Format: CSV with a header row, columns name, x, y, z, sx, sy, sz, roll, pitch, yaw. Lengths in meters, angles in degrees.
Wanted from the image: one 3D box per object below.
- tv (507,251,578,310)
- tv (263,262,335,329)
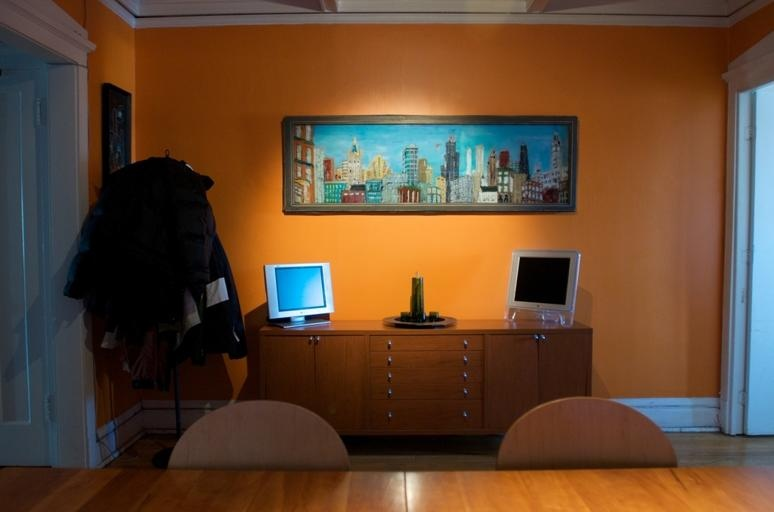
name,x,y,z,sx,sy,sz,roll,pitch,yaw
tv,1.309,0.204,5.667,0.472,0.477,0.049,2,-6,25
tv,-0.727,0.323,5.582,0.482,0.437,0.201,-2,-7,-17
